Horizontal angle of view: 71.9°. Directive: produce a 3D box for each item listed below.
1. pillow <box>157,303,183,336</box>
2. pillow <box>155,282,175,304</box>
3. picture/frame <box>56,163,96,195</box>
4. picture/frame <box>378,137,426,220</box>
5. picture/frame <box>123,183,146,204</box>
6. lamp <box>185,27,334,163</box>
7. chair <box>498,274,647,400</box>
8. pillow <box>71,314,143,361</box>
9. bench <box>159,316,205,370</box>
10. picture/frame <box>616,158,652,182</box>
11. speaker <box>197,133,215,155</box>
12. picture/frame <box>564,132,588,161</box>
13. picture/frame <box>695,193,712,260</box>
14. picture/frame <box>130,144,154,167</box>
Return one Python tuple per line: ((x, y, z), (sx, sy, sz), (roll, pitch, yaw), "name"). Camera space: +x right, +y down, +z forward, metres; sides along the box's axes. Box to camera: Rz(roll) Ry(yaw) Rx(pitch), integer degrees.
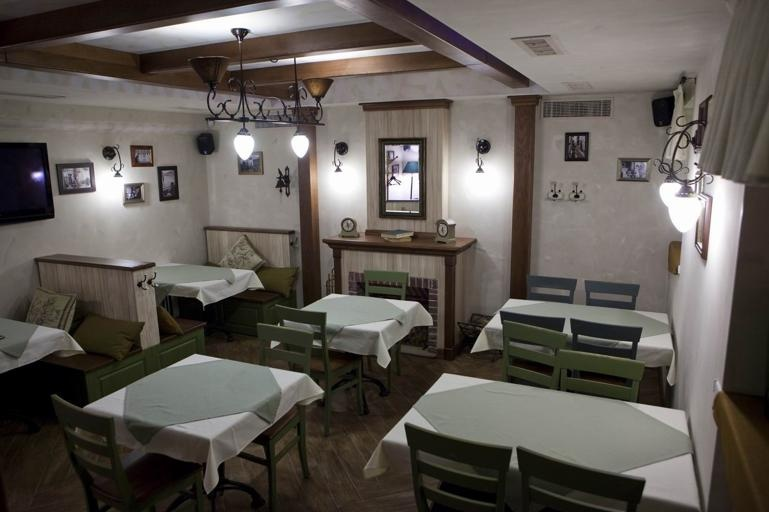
((-2.541, 0.766, 6.324), (0.135, 0.365, 0.320), (6, 10, 34), "pillow")
((-2.895, 0.491, 6.986), (0.241, 0.094, 0.246), (8, 18, 25), "pillow")
((-4.046, -1.014, 6.923), (0.041, 0.367, 0.428), (3, 8, 26), "picture/frame")
((0.248, -1.080, 7.381), (0.668, 1.089, 0.155), (6, 10, 30), "picture/frame")
((-3.619, -0.903, 7.679), (0.069, 0.300, 0.360), (4, 9, 20), "picture/frame")
((-1.169, -1.590, 5.417), (0.346, 1.176, 1.968), (5, 12, 30), "lamp")
((1.959, 0.820, 4.932), (1.124, 0.837, 1.546), (5, 12, 28), "chair")
((-3.122, 0.895, 5.922), (0.706, 0.232, 0.446), (-1, 22, 8), "pillow")
((-2.439, 1.073, 6.458), (0.383, 0.617, 0.652), (5, 10, 17), "bench")
((3.095, -1.072, 6.555), (0.294, 0.254, 0.023), (4, 11, 22), "picture/frame")
((-2.874, -1.815, 8.512), (0.292, 0.379, 0.201), (-3, 13, -18), "speaker")
((2.444, -1.406, 6.751), (0.341, 0.449, 0.052), (3, 9, 21), "picture/frame")
((2.564, -0.242, 4.272), (0.037, 0.422, 0.482), (3, 15, 23), "picture/frame")
((-3.555, -1.468, 7.733), (0.027, 0.298, 0.335), (3, 9, 25), "picture/frame")
